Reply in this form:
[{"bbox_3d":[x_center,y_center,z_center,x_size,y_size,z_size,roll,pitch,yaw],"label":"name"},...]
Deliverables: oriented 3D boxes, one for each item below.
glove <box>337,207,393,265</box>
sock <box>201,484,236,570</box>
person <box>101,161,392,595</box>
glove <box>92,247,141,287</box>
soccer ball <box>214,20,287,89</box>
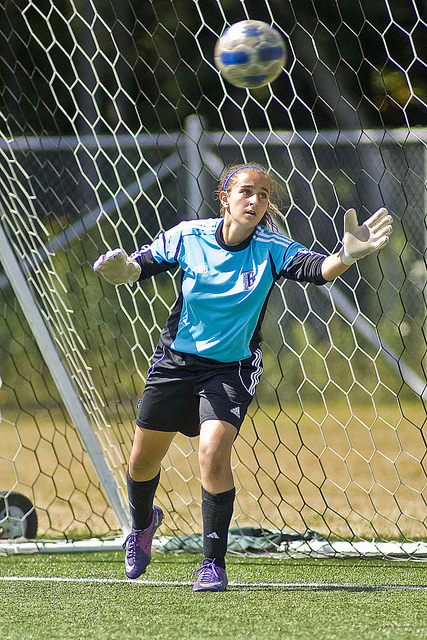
[{"bbox_3d":[0.464,-0.269,2.276,0.163,0.190,0.170,-2,-9,-3],"label":"glove"},{"bbox_3d":[0.014,0.671,2.332,0.107,0.299,0.101,-2,11,-16],"label":"sock"},{"bbox_3d":[0.052,0.166,2.451,0.361,1.421,1.065,5,-12,-42],"label":"person"},{"bbox_3d":[-0.320,-0.179,2.459,0.103,0.148,0.053,-27,52,12],"label":"glove"},{"bbox_3d":[0.133,-1.005,2.773,0.259,0.292,0.288,-10,25,-9],"label":"soccer ball"}]
